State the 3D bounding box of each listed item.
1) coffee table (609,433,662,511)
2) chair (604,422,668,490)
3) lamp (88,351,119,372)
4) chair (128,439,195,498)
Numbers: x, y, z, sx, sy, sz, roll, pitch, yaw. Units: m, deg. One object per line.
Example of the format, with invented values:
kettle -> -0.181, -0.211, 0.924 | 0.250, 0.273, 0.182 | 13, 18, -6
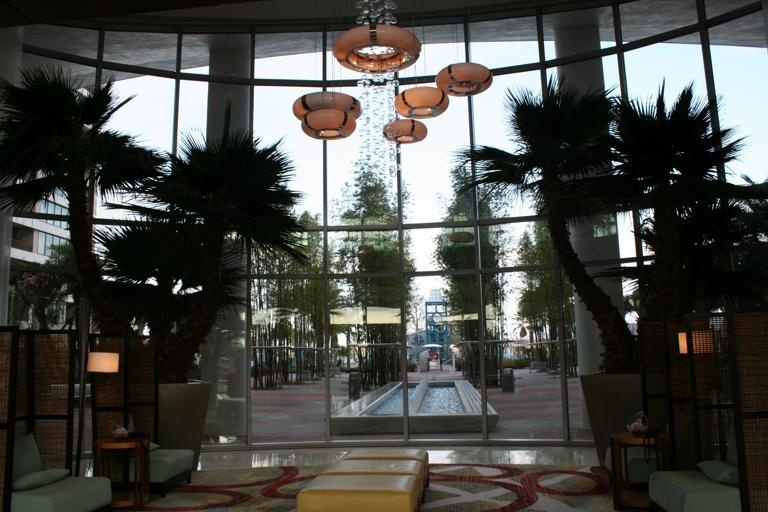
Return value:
coffee table -> 3.346, 2.972, 9.338 | 0.824, 1.062, 0.950 | -1, -8, 8
chair -> 3.670, 2.940, 9.486 | 0.788, 0.874, 0.692 | -4, -1, 25
lamp -> -4.255, 1.588, 10.107 | 0.343, 0.220, 0.346 | -1, -6, 24
chair -> -3.337, 3.397, 10.146 | 0.604, 0.574, 1.101 | 0, -4, -6
